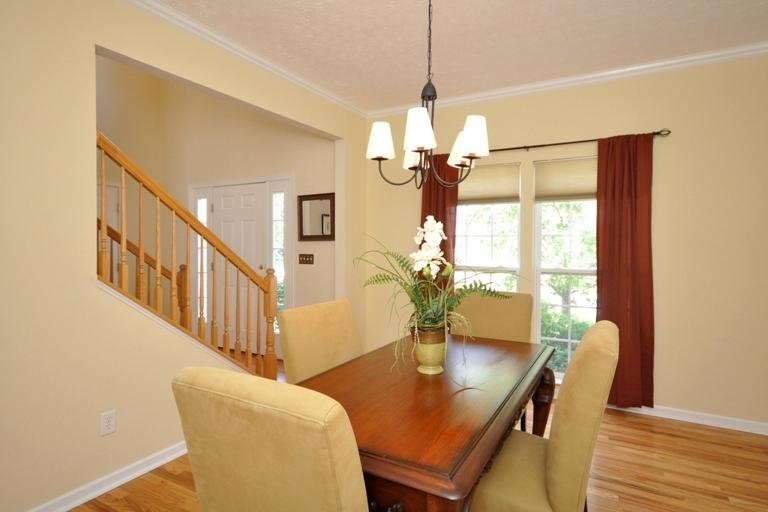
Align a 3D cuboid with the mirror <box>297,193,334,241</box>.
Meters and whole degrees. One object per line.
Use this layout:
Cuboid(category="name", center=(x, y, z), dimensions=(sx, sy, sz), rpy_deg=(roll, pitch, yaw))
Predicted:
Cuboid(category="mirror", center=(-0.773, -0.455, 6.213), dimensions=(0.545, 0.587, 0.048), rpy_deg=(0, 1, 30))
